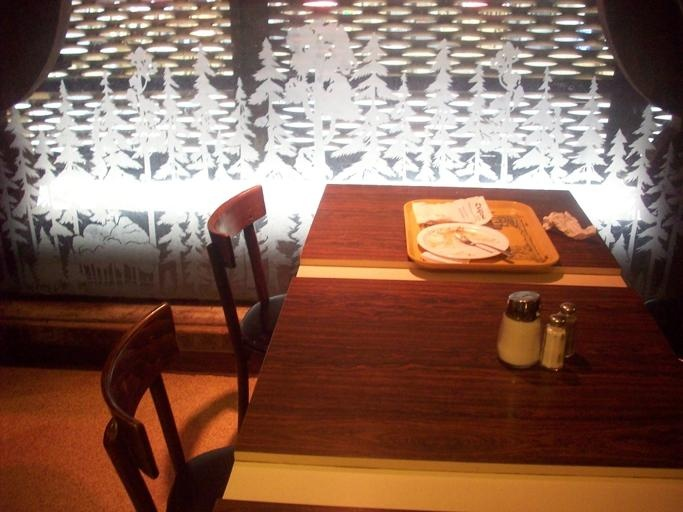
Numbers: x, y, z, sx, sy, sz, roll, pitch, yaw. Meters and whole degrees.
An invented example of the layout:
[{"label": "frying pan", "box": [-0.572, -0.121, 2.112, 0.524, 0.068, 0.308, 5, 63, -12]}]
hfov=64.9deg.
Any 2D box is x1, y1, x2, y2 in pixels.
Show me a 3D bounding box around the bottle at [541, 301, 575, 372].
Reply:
[{"label": "bottle", "box": [0.533, 0.203, 1.314, 0.070, 0.164, 0.058, -13, 42, 5]}]
